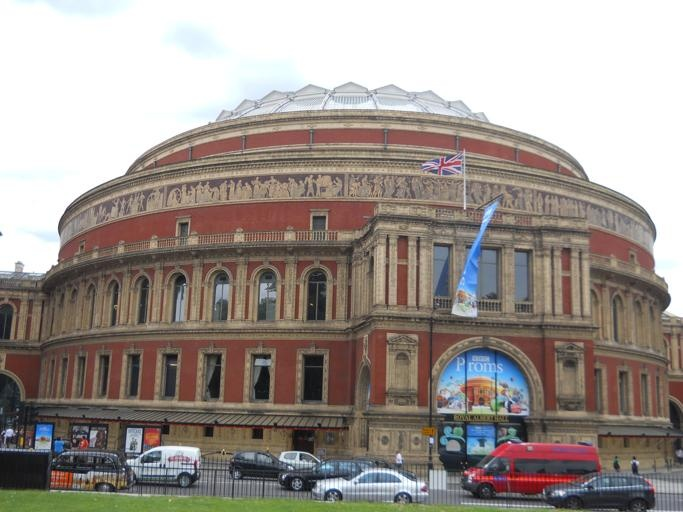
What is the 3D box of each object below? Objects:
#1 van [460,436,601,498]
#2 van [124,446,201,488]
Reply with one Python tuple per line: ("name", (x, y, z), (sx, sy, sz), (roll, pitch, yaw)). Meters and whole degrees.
("van", (10.978, 12.901, 52.491), (7.460, 3.206, 2.929), (-1, -9, 8))
("van", (-10.576, 12.814, 54.355), (5.285, 2.284, 2.700), (-1, -10, 22))
